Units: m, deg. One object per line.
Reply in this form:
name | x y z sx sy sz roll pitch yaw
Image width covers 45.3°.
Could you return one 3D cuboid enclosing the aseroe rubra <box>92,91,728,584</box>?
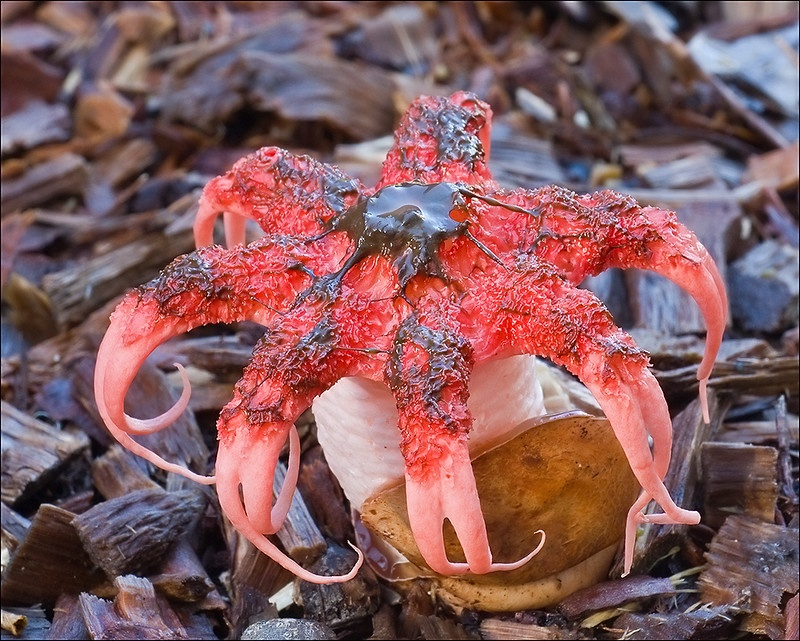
aseroe rubra | 0.066 0.088 2.738 1.654 0.645 1.384 8 64 8
